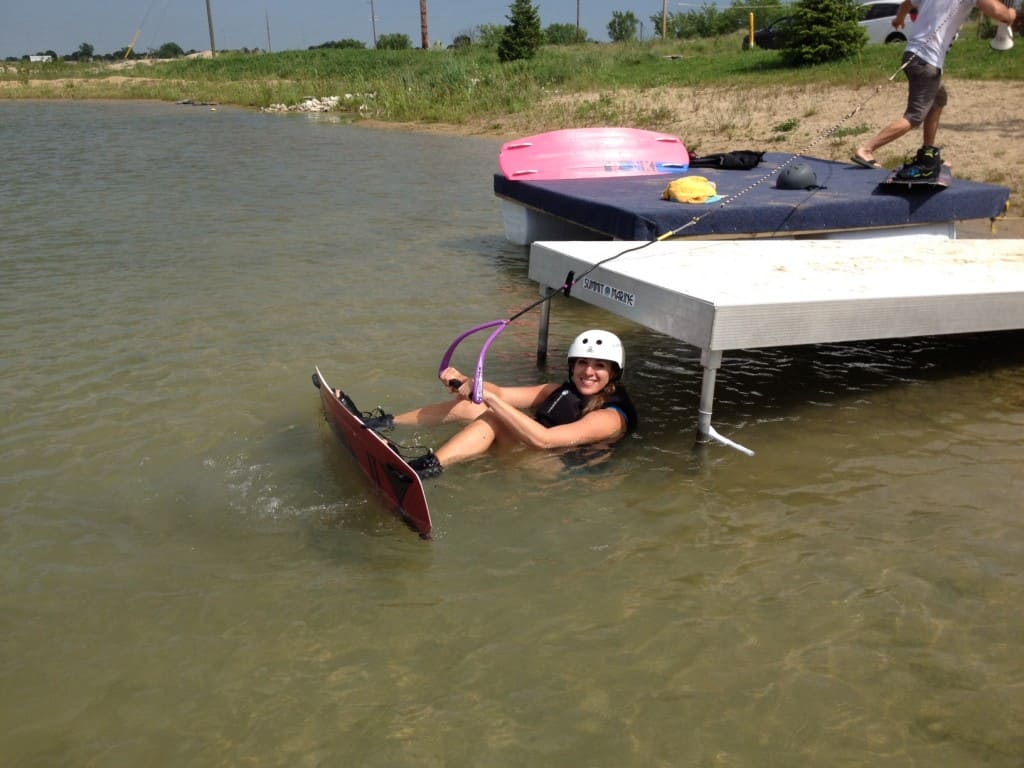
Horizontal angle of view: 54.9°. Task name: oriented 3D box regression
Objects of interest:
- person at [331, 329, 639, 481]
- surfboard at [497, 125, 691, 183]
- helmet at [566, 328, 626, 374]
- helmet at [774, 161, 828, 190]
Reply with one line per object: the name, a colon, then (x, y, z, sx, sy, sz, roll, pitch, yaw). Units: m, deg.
person: (-0.099, 0.121, 7.450, 2.260, 0.889, 1.009, -1, 19, -24)
surfboard: (1.144, -3.139, 13.559, 2.388, 0.371, 1.046, 2, 45, -11)
helmet: (0.651, -0.241, 7.519, 0.343, 0.339, 0.299, 5, 1, 15)
helmet: (3.348, -2.382, 11.383, 0.562, 0.270, 0.533, 3, 18, 12)
